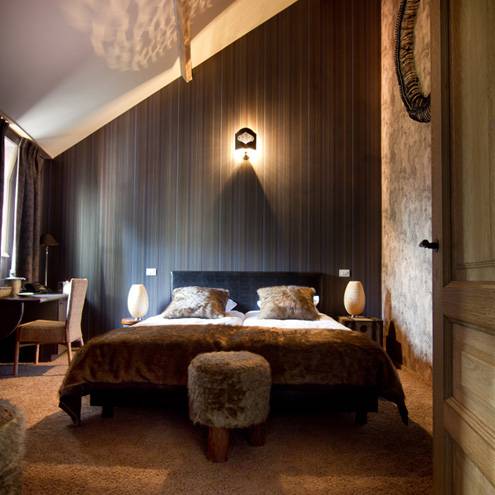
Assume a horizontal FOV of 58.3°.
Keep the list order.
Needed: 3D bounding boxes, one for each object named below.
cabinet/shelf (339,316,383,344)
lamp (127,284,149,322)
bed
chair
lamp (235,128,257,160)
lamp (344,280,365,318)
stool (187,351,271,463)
[{"bbox_3d":[1.181,0.755,4.500,0.268,0.371,0.317,0,-3,5],"label":"cabinet/shelf"},{"bbox_3d":[-1.195,0.600,4.866,0.173,0.411,0.207,6,2,3],"label":"lamp"},{"bbox_3d":[-0.060,0.705,3.901,2.272,0.871,2.240,0,0,1],"label":"bed"},{"bbox_3d":[-1.865,0.716,4.263,0.480,0.986,0.558,6,-3,-2],"label":"chair"},{"bbox_3d":[-0.020,-1.178,5.063,0.256,0.507,0.101,0,6,-2],"label":"lamp"},{"bbox_3d":[1.124,0.506,4.673,0.178,0.391,0.198,-15,19,-33],"label":"lamp"},{"bbox_3d":[-0.095,0.852,2.560,0.394,0.498,0.460,-1,-2,17],"label":"stool"}]
